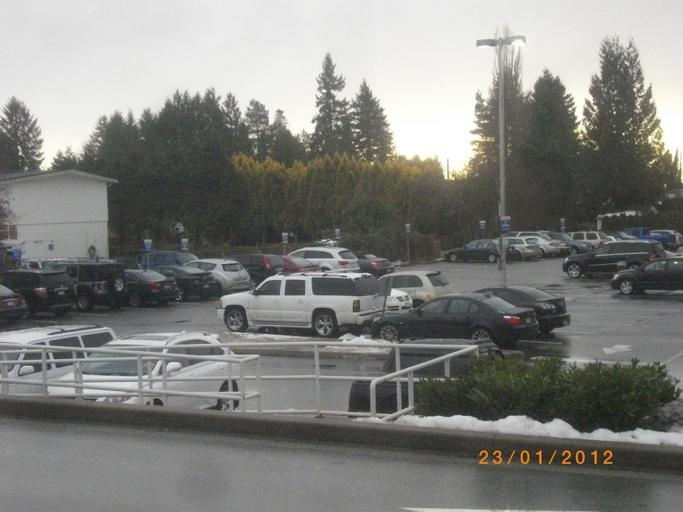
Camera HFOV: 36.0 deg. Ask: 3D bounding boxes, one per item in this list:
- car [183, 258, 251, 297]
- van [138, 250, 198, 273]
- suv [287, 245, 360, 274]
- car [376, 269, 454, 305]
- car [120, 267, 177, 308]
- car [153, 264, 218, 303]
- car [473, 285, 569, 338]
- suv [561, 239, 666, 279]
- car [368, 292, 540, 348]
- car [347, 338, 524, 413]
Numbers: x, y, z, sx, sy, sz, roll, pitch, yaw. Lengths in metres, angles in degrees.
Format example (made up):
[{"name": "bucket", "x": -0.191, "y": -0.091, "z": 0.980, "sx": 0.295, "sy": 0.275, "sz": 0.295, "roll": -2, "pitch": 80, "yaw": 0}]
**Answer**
[{"name": "car", "x": -4.704, "y": 0.838, "z": 42.217, "sx": 2.808, "sy": 1.357, "sz": 1.312, "roll": 0, "pitch": 0, "yaw": 23}, {"name": "van", "x": -7.845, "y": 0.118, "z": 47.024, "sx": 2.155, "sy": 1.430, "sz": 1.265, "roll": -4, "pitch": 1, "yaw": 28}, {"name": "suv", "x": -0.567, "y": 0.320, "z": 46.392, "sx": 2.144, "sy": 1.358, "sz": 2.661, "roll": 3, "pitch": 6, "yaw": 35}, {"name": "car", "x": 2.562, "y": 0.925, "z": 34.440, "sx": 1.859, "sy": 1.082, "sz": 1.160, "roll": 6, "pitch": 7, "yaw": 28}, {"name": "car", "x": -7.293, "y": 1.242, "z": 40.284, "sx": 2.206, "sy": 0.919, "sz": 1.002, "roll": 4, "pitch": 5, "yaw": 35}, {"name": "car", "x": -6.357, "y": 1.007, "z": 42.273, "sx": 2.405, "sy": 1.018, "sz": 1.161, "roll": 7, "pitch": 8, "yaw": 38}, {"name": "car", "x": 5.270, "y": 1.535, "z": 30.973, "sx": 2.682, "sy": 1.038, "sz": 1.270, "roll": 6, "pitch": 7, "yaw": 36}, {"name": "suv", "x": 11.903, "y": 0.080, "z": 46.479, "sx": 1.572, "sy": 1.785, "sz": 3.576, "roll": 0, "pitch": 1, "yaw": -40}, {"name": "car", "x": 3.212, "y": 1.757, "z": 28.474, "sx": 4.055, "sy": 1.540, "sz": 1.699, "roll": 0, "pitch": 1, "yaw": 37}, {"name": "car", "x": 1.686, "y": 2.706, "z": 22.252, "sx": 3.665, "sy": 1.863, "sz": 2.618, "roll": -6, "pitch": 3, "yaw": -38}]
